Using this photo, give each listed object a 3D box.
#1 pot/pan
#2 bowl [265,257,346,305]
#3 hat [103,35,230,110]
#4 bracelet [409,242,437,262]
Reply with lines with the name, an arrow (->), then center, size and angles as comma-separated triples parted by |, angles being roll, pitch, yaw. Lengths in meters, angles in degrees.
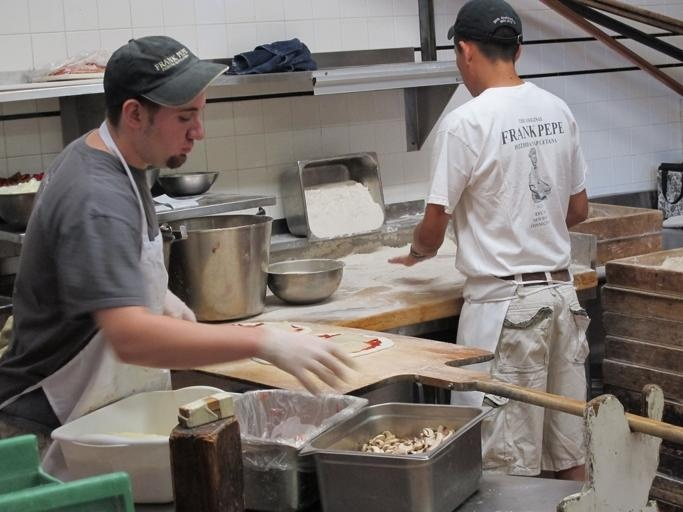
pot/pan -> -0.519, 0.016, 2.710 | 0.402, 0.414, 0.465 | 2, 8, 42
bowl -> -0.179, 0.120, 2.964 | 0.343, 0.164, 0.366 | 1, 10, 0
hat -> -0.488, -0.507, 1.741 | 0.350, 0.164, 0.263 | -1, 31, 18
bracelet -> 0.351, -0.015, 2.792 | 0.095, 0.091, 0.075 | -41, -11, 23
